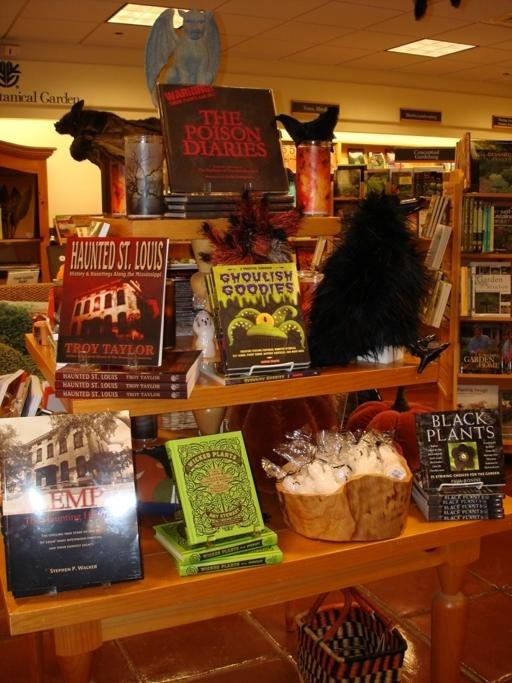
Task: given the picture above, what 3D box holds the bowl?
[{"bbox_3d":[0.178,0.340,1.076,0.243,0.113,0.259,-4,-20,-1],"label":"bowl"}]
